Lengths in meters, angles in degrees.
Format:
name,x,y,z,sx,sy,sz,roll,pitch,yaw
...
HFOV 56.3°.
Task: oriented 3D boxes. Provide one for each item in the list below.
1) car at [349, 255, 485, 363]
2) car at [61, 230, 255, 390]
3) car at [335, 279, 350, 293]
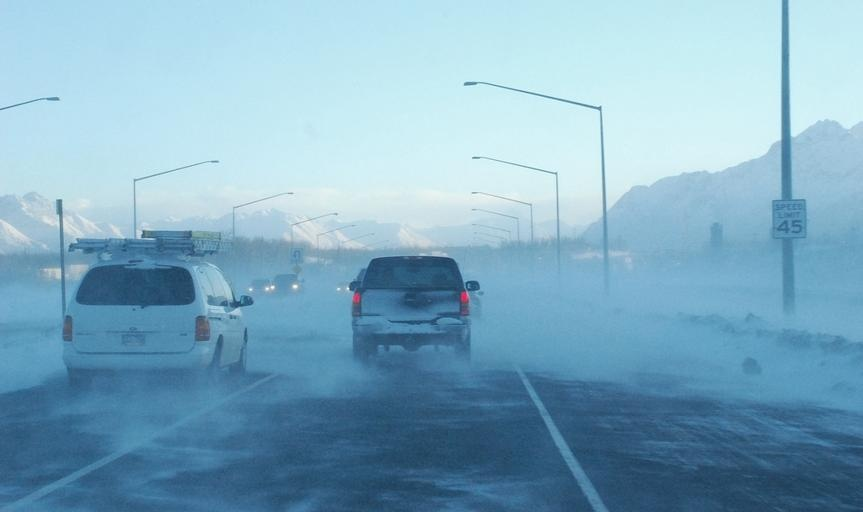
name,x,y,z,sx,sy,sz,roll,pitch,yaw
car,-0.564,1.368,21.317,2.997,2.639,2.364,0,4,-5
car,-6.102,1.192,17.613,3.692,3.420,2.267,-2,5,-24
car,-7.670,2.536,68.859,1.862,1.244,2.818,0,1,-2
